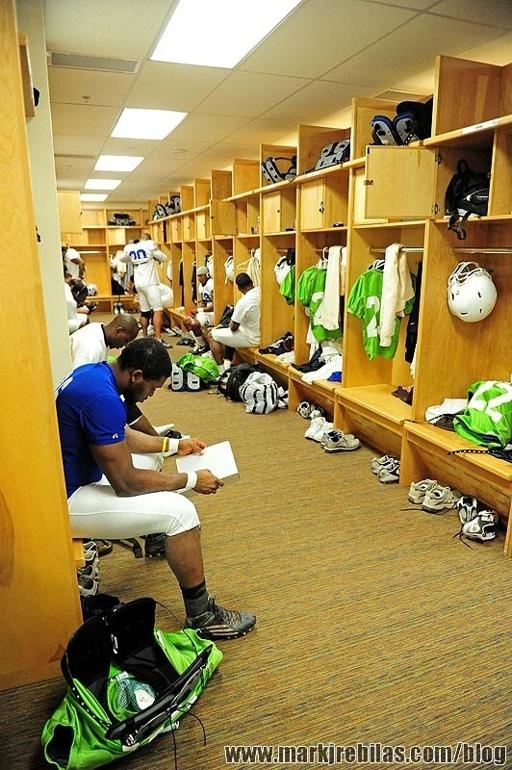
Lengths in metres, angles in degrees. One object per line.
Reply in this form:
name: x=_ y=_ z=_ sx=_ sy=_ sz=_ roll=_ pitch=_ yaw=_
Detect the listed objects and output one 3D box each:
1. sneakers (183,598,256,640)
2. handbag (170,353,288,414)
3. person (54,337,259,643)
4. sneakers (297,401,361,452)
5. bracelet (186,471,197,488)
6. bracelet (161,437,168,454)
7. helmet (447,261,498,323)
sneakers: x=-0.116 y=0.840 z=1.894 sx=0.303 sy=0.149 sz=0.107 roll=-2 pitch=17 yaw=-17
handbag: x=-0.290 y=0.010 z=5.278 sx=0.995 sy=0.337 sz=0.643 roll=14 pitch=25 yaw=28
person: x=-0.348 y=0.206 z=2.299 sx=0.978 sy=1.337 sz=0.934 roll=-4 pitch=19 yaw=-21
sneakers: x=0.609 y=0.356 z=3.996 sx=0.268 sy=0.122 sz=0.364 roll=27 pitch=16 yaw=33
bracelet: x=-0.232 y=0.344 z=1.865 sx=0.044 sy=0.052 sz=0.041 roll=-7 pitch=11 yaw=-39
bracelet: x=-0.399 y=0.266 z=2.264 sx=0.030 sy=0.059 sz=0.044 roll=6 pitch=1 yaw=-21
helmet: x=1.189 y=-0.494 z=2.844 sx=0.260 sy=0.343 sz=0.339 roll=4 pitch=11 yaw=24
